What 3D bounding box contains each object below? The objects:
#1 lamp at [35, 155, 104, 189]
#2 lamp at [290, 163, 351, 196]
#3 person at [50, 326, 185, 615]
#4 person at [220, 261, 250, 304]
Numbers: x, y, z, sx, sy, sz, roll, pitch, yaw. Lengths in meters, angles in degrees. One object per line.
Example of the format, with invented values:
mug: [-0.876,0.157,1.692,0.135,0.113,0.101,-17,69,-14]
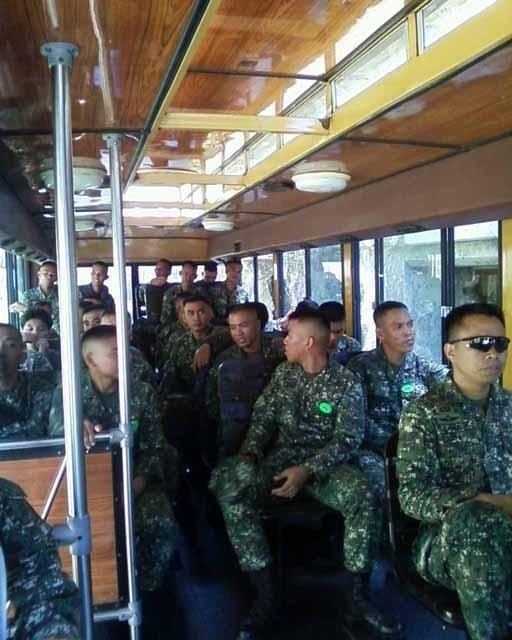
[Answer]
lamp: [-1.050,-0.820,3.119,0.359,0.148,0.654,-1,2,-21]
lamp: [0.500,-1.126,4.206,0.527,0.171,0.458,-1,2,-24]
person: [-0.702,0.734,2.687,0.598,1.423,1.263,-1,2,-5]
person: [-0.326,-0.616,8.378,0.375,0.711,0.720,-1,2,-4]
